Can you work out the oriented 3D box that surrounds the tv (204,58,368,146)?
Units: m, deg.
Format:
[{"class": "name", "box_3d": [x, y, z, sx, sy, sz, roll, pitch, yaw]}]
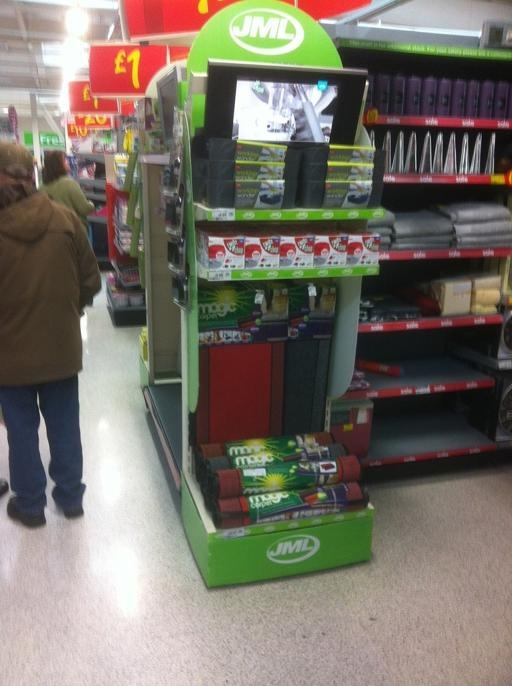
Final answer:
[{"class": "tv", "box_3d": [0.103, -0.902, 2.002, 0.626, 0.293, 0.145, -4, 27, -18]}]

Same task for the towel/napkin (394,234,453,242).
[{"class": "towel/napkin", "box_3d": [0.889, -0.552, 2.716, 0.376, 0.039, 0.082, -6, 13, -30]}]

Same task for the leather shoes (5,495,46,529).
[{"class": "leather shoes", "box_3d": [-1.117, 0.822, 2.501, 0.096, 0.100, 0.224, -13, 32, -41]}]

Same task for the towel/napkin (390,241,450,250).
[{"class": "towel/napkin", "box_3d": [0.884, -0.524, 2.727, 0.389, 0.061, 0.088, -6, 13, -30]}]
